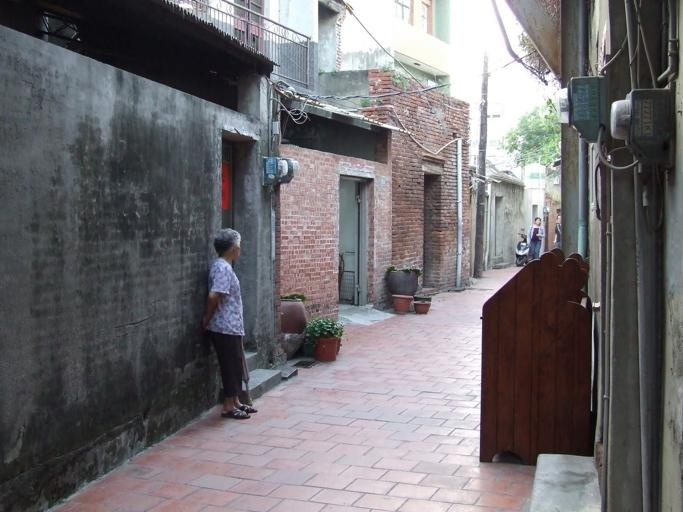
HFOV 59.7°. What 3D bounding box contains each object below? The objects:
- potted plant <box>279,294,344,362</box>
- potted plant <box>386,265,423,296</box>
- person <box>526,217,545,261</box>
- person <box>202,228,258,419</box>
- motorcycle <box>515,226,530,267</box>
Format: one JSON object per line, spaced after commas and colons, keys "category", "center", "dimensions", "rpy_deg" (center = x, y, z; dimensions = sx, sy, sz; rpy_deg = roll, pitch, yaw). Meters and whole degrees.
{"category": "potted plant", "center": [-0.467, 1.218, 9.728], "dimensions": [0.957, 0.997, 0.797], "rpy_deg": [-1, -1, 1]}
{"category": "potted plant", "center": [1.517, 0.611, 14.519], "dimensions": [0.646, 0.695, 0.739], "rpy_deg": [1, -5, -12]}
{"category": "person", "center": [8.369, -0.737, 25.657], "dimensions": [0.589, 1.786, 1.285], "rpy_deg": [2, 4, 18]}
{"category": "person", "center": [-1.333, 0.667, 6.779], "dimensions": [0.467, 1.915, 0.354], "rpy_deg": [-1, 4, -15]}
{"category": "motorcycle", "center": [8.256, -0.285, 27.682], "dimensions": [0.825, 1.198, 1.763], "rpy_deg": [4, 14, 14]}
